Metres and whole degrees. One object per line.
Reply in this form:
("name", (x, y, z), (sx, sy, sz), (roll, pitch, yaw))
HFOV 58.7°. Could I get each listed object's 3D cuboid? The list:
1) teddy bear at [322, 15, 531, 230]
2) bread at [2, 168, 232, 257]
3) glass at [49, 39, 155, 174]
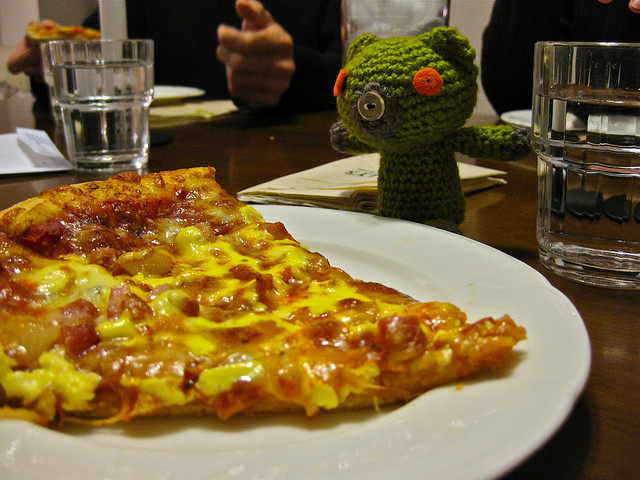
("teddy bear", (0.136, -0.143, 0.821), (0.332, 0.300, 0.162), (7, 14, 35))
("bread", (-0.264, -0.074, 0.771), (0.249, 0.048, 0.151), (-11, 27, -38))
("glass", (-0.471, -0.305, 1.272), (0.217, 0.289, 0.189), (-5, 16, -14))
